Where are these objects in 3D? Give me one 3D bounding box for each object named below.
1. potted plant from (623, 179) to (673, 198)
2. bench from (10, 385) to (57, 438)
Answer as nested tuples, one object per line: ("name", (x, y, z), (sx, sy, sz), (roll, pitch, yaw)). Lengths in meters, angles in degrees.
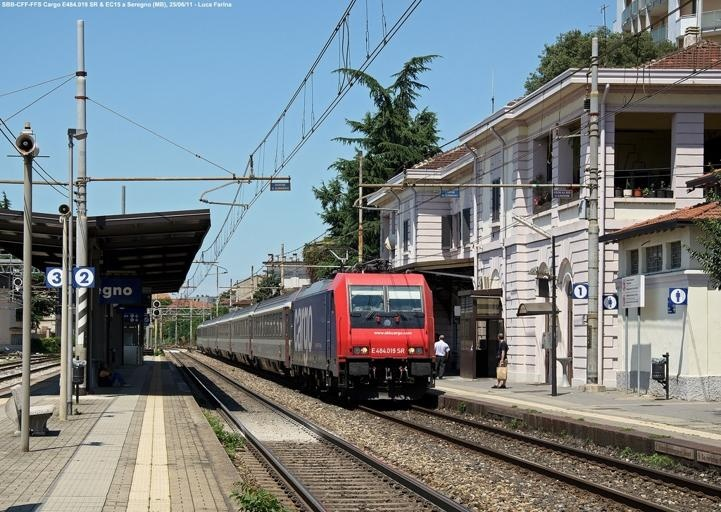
("potted plant", (10.143, -2.334, 32.723), (1.176, 0.487, 1.182), (0, -2, -12))
("bench", (-6.819, 3.325, 19.086), (0.913, 0.973, 1.421), (0, -1, -13))
